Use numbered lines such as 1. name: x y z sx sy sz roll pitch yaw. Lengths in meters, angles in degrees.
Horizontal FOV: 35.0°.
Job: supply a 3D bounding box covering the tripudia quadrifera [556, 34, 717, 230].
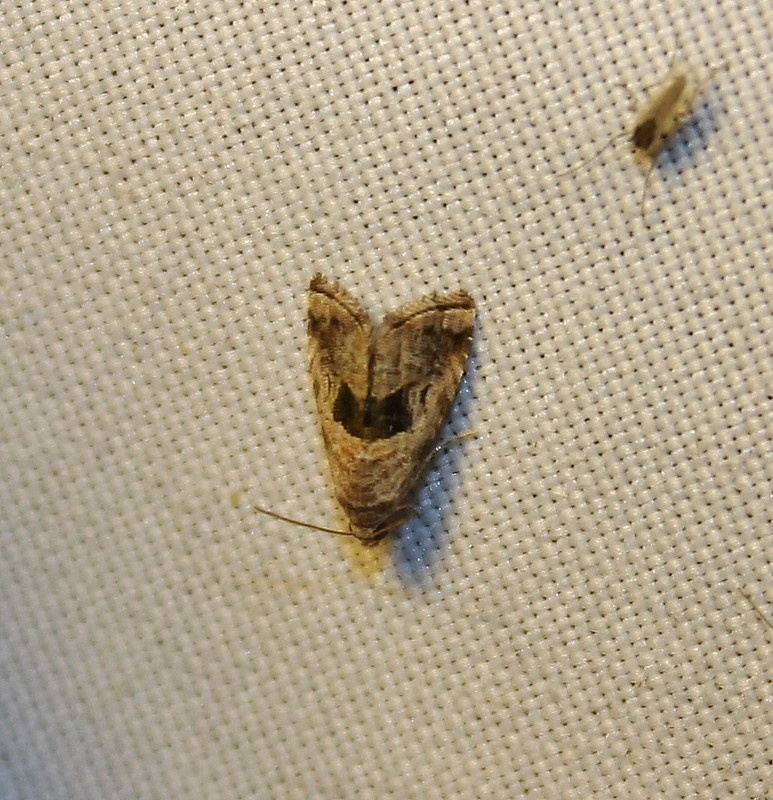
1. tripudia quadrifera: 0.621 -0.645 2.979 0.236 0.341 0.103 39 16 -3
